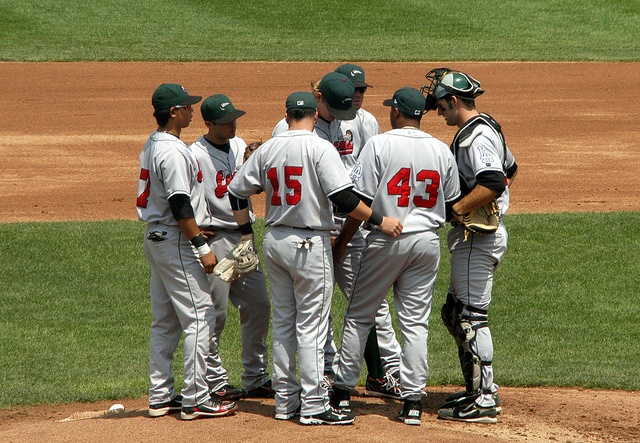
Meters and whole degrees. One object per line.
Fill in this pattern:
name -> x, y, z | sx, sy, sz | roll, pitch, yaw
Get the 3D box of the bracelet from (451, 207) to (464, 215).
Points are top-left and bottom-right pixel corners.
bracelet -> 2.571, -0.194, 21.544 | 0.192, 0.143, 0.109 | -1, 46, 48

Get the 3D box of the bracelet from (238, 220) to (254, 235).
bracelet -> -1.399, 0.109, 21.681 | 0.242, 0.233, 0.228 | -16, 8, -32

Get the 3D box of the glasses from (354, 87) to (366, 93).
glasses -> 0.779, -2.553, 22.287 | 0.155, 0.105, 0.247 | 3, 12, -1

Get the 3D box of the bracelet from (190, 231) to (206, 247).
bracelet -> -2.259, 0.339, 21.346 | 0.269, 0.248, 0.244 | 4, -20, 1

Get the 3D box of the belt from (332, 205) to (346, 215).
belt -> 0.355, -0.232, 22.130 | 0.230, 0.163, 0.216 | 1, -3, -7

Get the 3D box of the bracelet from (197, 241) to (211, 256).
bracelet -> -2.144, 0.517, 21.426 | 0.216, 0.209, 0.213 | -31, 13, 31

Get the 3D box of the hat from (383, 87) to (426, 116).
hat -> 1.606, -2.274, 21.614 | 0.648, 0.361, 0.473 | 23, 29, 26

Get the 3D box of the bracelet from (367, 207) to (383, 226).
bracelet -> 0.997, -0.091, 21.259 | 0.261, 0.252, 0.247 | 3, 49, 5

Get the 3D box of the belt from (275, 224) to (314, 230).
belt -> -0.476, 0.107, 21.309 | 0.729, 0.116, 0.061 | 1, 7, 9

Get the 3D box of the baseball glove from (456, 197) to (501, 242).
baseball glove -> 2.973, -0.089, 21.567 | 0.729, 0.637, 0.264 | 0, 7, 3

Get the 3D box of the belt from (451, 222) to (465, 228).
belt -> 2.572, 0.047, 21.737 | 0.132, 0.116, 0.125 | 0, 9, -12
